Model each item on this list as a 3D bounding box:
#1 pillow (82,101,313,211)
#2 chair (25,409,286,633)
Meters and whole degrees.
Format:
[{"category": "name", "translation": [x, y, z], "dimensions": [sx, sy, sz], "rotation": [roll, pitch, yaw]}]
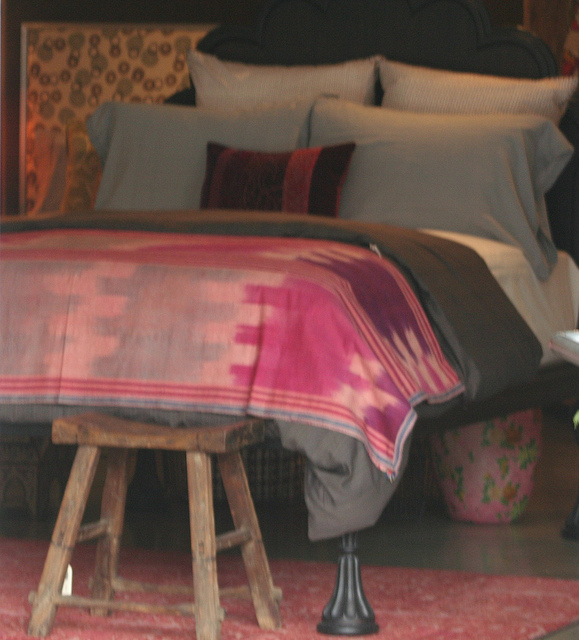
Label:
[{"category": "pillow", "translation": [-0.329, -0.565, 3.565], "dimensions": [0.584, 0.576, 0.155], "rotation": [0, -13, 9]}, {"category": "chair", "translation": [-0.249, 0.342, 2.025], "dimensions": [0.406, 0.527, 0.468], "rotation": [0, -4, 13]}]
